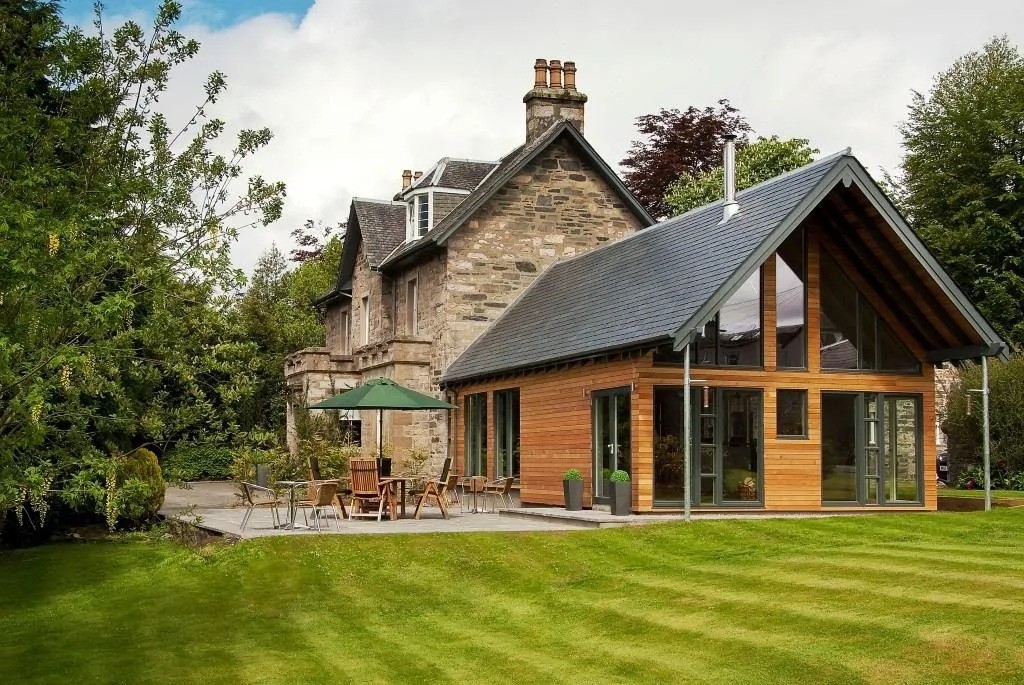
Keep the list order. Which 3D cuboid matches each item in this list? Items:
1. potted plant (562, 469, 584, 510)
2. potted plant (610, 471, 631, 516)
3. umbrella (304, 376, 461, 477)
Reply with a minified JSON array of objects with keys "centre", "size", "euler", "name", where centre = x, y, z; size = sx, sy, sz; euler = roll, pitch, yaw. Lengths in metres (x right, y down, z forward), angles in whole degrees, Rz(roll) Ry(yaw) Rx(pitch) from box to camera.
[{"centre":[1.530,3.704,23.886],"size":[0.444,0.970,0.536],"euler":[-4,9,3],"name":"potted plant"},{"centre":[2.562,3.551,22.491],"size":[0.494,0.995,0.540],"euler":[-4,9,2],"name":"potted plant"},{"centre":[-3.490,2.448,25.839],"size":[2.999,1.977,2.968],"euler":[0,0,5],"name":"umbrella"}]
